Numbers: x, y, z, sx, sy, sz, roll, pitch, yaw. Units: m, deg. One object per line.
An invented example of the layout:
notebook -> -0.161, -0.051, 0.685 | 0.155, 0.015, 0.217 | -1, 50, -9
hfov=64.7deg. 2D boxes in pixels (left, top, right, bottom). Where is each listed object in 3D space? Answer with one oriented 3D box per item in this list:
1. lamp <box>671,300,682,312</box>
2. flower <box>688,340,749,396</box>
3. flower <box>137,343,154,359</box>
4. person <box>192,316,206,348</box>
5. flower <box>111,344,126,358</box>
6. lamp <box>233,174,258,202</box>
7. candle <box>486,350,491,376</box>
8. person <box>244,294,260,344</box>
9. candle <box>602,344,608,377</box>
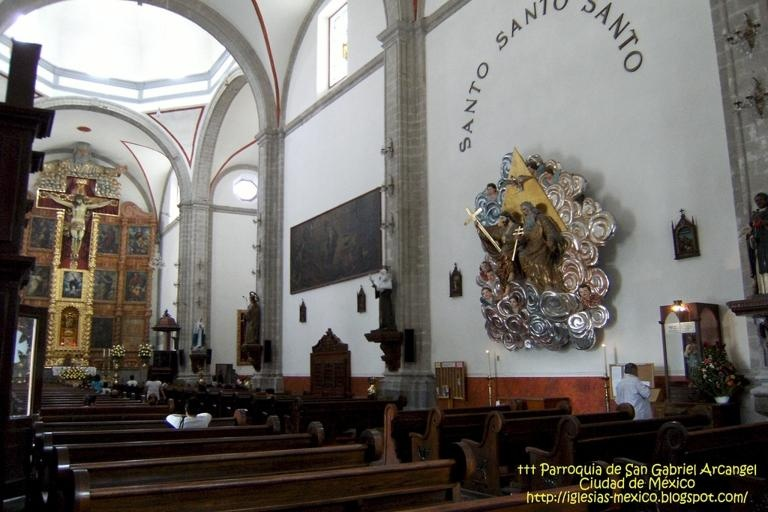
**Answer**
lamp -> 3.920, 0.676, 8.120 | 0.113, 0.222, 0.116 | 1, -14, 4
flower -> 4.261, 1.450, 7.867 | 0.599, 0.841, 0.610 | 2, -9, -31
flower -> -10.091, 4.066, 25.656 | 0.806, 0.864, 0.821 | 5, -8, -21
person -> -6.642, 2.777, 21.657 | 0.421, 1.085, 0.543 | 3, -13, -19
flower -> -11.288, 4.048, 25.593 | 0.538, 0.490, 0.468 | 0, -12, -5
lamp -> -5.542, -2.699, 24.108 | 0.276, 1.247, 1.197 | -2, -14, 43
candle -> 1.838, 1.880, 10.654 | 0.032, 0.443, 0.128 | 6, -14, -31
person -> -3.588, 1.726, 16.626 | 0.367, 1.432, 0.319 | 0, -12, -7
candle -> 3.296, 1.541, 9.058 | 0.085, 0.468, 0.085 | -10, -15, 35
